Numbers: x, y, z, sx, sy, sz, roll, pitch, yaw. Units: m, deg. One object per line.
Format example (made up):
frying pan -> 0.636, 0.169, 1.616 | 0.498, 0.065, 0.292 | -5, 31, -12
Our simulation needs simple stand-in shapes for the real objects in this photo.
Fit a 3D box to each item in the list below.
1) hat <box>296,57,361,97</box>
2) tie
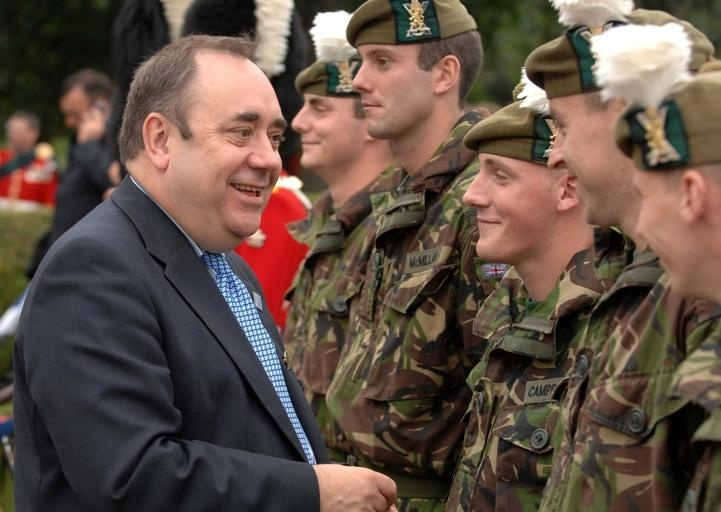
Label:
hat -> -0.186, -0.991, 6.174 | 0.273, 0.107, 0.225 | 1, 4, 26
tie -> -0.393, 0.433, 4.422 | 0.133, 0.961, 0.041 | -13, -26, -41
